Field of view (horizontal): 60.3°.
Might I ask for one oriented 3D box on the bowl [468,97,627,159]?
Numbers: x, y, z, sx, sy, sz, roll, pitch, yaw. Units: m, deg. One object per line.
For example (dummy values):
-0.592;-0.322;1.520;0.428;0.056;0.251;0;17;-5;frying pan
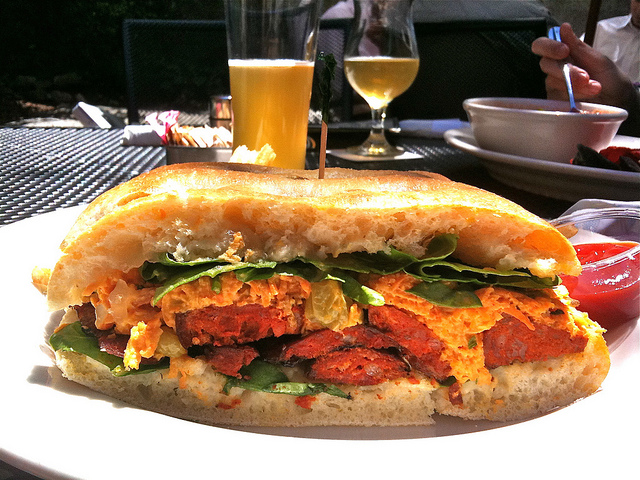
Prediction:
1.022;-0.519;2.521;0.605;0.162;0.516;6;13;23;bowl
